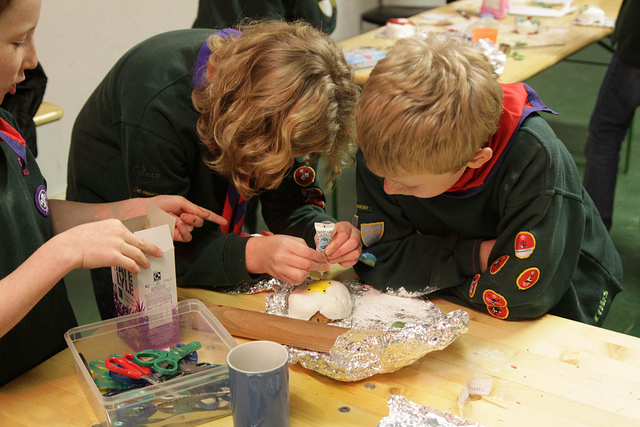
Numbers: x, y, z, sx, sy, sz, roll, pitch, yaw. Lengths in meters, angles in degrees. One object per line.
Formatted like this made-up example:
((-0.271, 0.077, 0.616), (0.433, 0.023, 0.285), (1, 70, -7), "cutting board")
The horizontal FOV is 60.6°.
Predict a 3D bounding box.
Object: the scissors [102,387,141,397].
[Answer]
((-0.582, 0.514, 1.577), (0.088, 0.010, 0.026), (-11, 15, -32), "scissors")

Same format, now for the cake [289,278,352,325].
((-0.018, 0.314, 2.028), (0.248, 0.156, 0.268), (0, 1, 15), "cake")

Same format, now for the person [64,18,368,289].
((-0.508, -0.324, 2.359), (1.338, 0.990, 0.791), (24, 28, 25), "person")

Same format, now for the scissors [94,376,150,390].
((-0.582, 0.492, 1.593), (0.141, 0.020, 0.057), (0, 11, -2), "scissors")

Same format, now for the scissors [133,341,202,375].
((-0.467, 0.416, 1.669), (0.153, 0.064, 0.130), (3, 18, 15), "scissors")

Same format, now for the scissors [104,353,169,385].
((-0.542, 0.458, 1.594), (0.165, 0.026, 0.087), (21, 13, 30), "scissors")

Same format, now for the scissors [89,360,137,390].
((-0.619, 0.477, 1.603), (0.088, 0.021, 0.087), (17, 12, -30), "scissors")

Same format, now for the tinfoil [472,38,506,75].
((1.091, -1.020, 3.474), (0.176, 0.194, 0.493), (1, 27, 17), "tinfoil")
